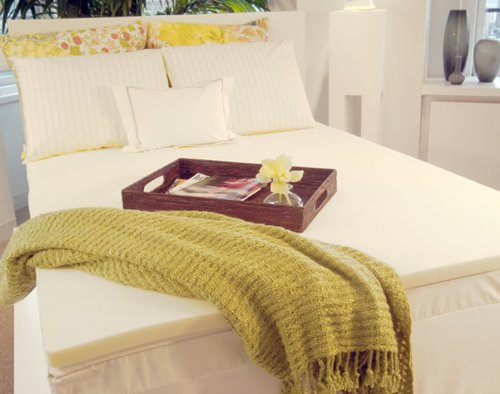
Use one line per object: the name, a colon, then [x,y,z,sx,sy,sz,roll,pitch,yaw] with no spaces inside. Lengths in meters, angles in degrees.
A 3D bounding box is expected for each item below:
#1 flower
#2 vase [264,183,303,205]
flower: [0.074,-0.070,1.309,0.204,0.205,0.154,-1,13,-3]
vase: [0.115,-0.023,1.289,0.089,0.051,0.087,-18,28,-36]
